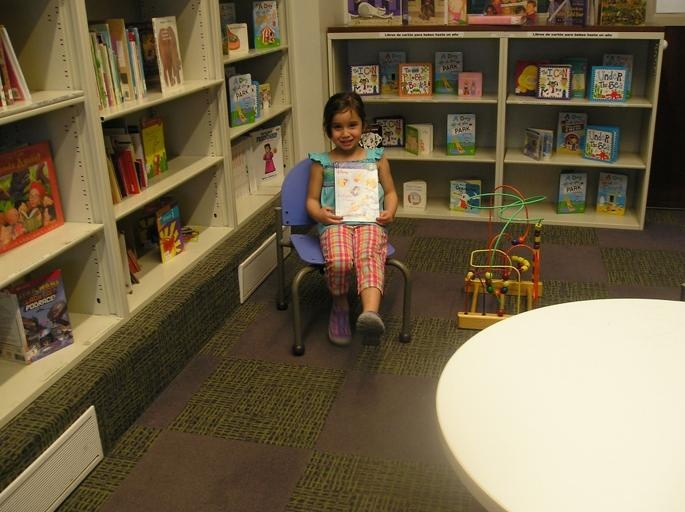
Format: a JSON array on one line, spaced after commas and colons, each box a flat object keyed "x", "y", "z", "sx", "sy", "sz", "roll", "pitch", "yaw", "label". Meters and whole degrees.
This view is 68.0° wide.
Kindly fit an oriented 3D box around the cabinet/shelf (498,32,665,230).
[{"x": 1.675, "y": -0.915, "z": 3.549, "sx": 1.190, "sy": 1.577, "sz": 0.455, "roll": 3, "pitch": 20, "yaw": 9, "label": "cabinet/shelf"}]

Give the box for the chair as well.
[{"x": -0.012, "y": 0.038, "z": 2.618, "sx": 0.695, "sy": 1.025, "sz": 0.777, "roll": -7, "pitch": 29, "yaw": -13, "label": "chair"}]

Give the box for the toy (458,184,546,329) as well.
[{"x": 0.920, "y": 0.005, "z": 2.964, "sx": 0.594, "sy": 0.871, "sz": 0.645, "roll": 2, "pitch": 29, "yaw": 11, "label": "toy"}]

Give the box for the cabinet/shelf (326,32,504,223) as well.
[{"x": 0.522, "y": -0.936, "z": 3.490, "sx": 1.296, "sy": 1.348, "sz": 0.394, "roll": 3, "pitch": 21, "yaw": 8, "label": "cabinet/shelf"}]

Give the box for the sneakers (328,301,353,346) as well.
[{"x": -0.014, "y": 0.326, "z": 2.503, "sx": 0.111, "sy": 0.211, "sz": 0.135, "roll": -2, "pitch": 26, "yaw": -5, "label": "sneakers"}]

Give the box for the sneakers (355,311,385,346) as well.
[{"x": 0.126, "y": 0.294, "z": 2.269, "sx": 0.114, "sy": 0.218, "sz": 0.097, "roll": 3, "pitch": 51, "yaw": 1, "label": "sneakers"}]

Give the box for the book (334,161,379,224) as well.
[{"x": 0.068, "y": -0.314, "z": 2.580, "sx": 0.298, "sy": 0.413, "sz": 0.044, "roll": -1, "pitch": -6, "yaw": -2, "label": "book"}]

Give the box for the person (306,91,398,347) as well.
[{"x": 0.042, "y": -0.266, "z": 2.525, "sx": 0.422, "sy": 0.671, "sz": 1.357, "roll": 1, "pitch": 53, "yaw": -3, "label": "person"}]
